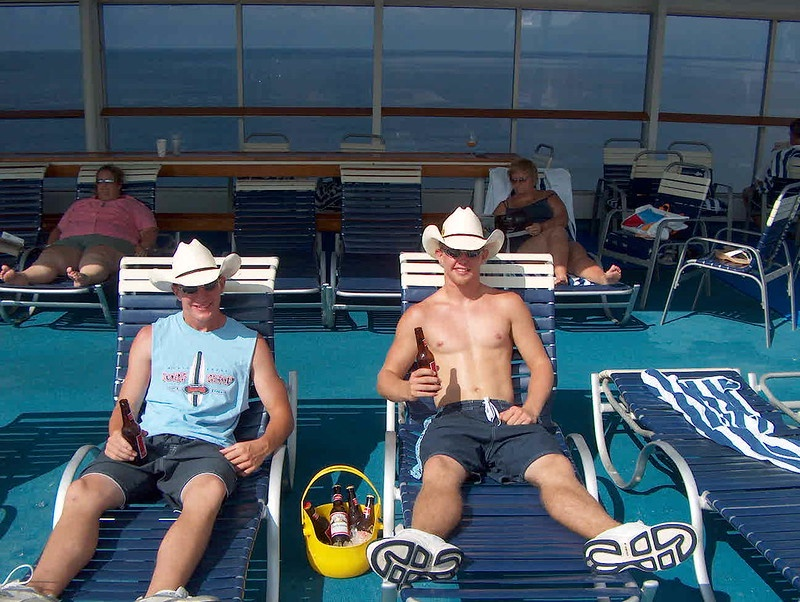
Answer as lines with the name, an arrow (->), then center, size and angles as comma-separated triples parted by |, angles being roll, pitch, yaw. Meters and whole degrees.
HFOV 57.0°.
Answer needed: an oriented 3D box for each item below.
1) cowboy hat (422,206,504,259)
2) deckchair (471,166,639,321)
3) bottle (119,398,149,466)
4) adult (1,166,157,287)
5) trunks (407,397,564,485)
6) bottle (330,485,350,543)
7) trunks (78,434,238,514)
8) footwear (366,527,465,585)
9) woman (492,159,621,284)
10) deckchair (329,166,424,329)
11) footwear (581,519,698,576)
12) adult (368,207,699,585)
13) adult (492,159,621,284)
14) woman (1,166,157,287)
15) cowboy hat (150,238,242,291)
cowboy hat -> 0.364, -0.374, 4.354 | 0.409, 0.146, 0.376 | 1, -23, 5
deckchair -> 1.383, -0.623, 6.871 | 0.909, 1.225, 2.267 | -4, 22, -8
bottle -> -1.298, 0.633, 3.591 | 0.124, 0.311, 0.260 | 0, -4, -20
adult -> -2.708, -0.612, 6.489 | 0.930, 0.763, 1.551 | 2, 11, 4
trunks -> 0.436, 0.640, 3.780 | 0.566, 0.180, 0.485 | -1, 14, -2
bottle -> -0.307, 1.097, 3.792 | 0.108, 0.268, 0.206 | -1, -3, -4
trunks -> -1.132, 0.806, 3.536 | 0.490, 0.128, 0.402 | -1, 22, -4
footwear -> 0.070, 1.084, 3.153 | 0.392, 0.176, 0.165 | 8, 12, -7
woman -> 1.416, -0.733, 6.946 | 0.830, 1.082, 1.899 | -14, 24, -12
deckchair -> -0.209, -0.508, 6.741 | 1.072, 0.957, 1.519 | 1, 37, -1
footwear -> 1.024, 1.049, 3.135 | 0.470, 0.190, 0.176 | -1, 1, -1
adult -> 0.529, 0.360, 3.891 | 1.469, 1.136, 2.049 | -3, 18, -8
adult -> 1.400, -0.728, 6.966 | 0.785, 1.014, 1.835 | -18, 26, -8
woman -> -2.710, -0.596, 6.449 | 0.930, 0.763, 1.551 | 2, 11, 4
cowboy hat -> -1.093, -0.172, 3.991 | 0.384, 0.138, 0.362 | -17, 4, -3
